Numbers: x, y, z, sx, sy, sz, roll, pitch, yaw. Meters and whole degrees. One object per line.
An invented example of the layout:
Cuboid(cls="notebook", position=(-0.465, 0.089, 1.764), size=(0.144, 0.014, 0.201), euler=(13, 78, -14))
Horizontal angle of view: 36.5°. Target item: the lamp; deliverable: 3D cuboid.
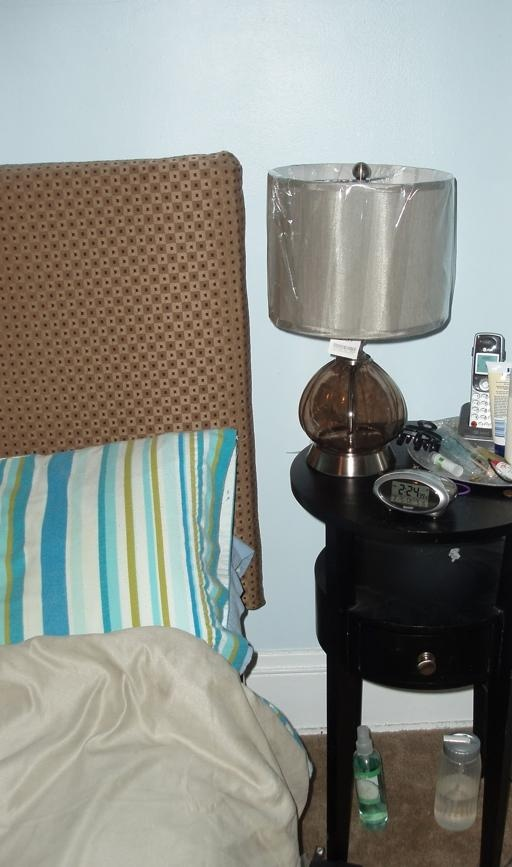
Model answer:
Cuboid(cls="lamp", position=(0.169, -0.186, 1.223), size=(0.301, 0.558, 0.325), euler=(14, 29, 27))

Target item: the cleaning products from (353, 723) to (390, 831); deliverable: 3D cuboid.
Cuboid(cls="cleaning products", position=(0.213, 0.647, 1.483), size=(0.054, 0.212, 0.050), euler=(-3, 17, 15))
